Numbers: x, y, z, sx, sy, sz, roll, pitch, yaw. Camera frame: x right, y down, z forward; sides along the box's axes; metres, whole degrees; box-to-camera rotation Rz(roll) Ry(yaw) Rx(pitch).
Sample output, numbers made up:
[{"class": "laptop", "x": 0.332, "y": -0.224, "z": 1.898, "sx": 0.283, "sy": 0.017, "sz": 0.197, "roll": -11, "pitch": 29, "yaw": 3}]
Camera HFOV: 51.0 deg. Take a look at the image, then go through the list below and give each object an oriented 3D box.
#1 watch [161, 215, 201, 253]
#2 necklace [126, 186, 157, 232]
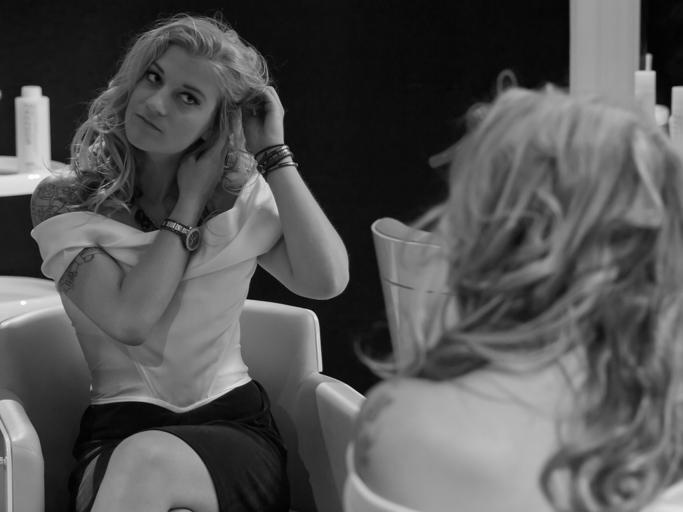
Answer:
[{"class": "watch", "x": -0.311, "y": -0.028, "z": 1.405, "sx": 0.057, "sy": 0.068, "sz": 0.038, "roll": -6, "pitch": 26, "yaw": 33}, {"class": "necklace", "x": -0.402, "y": -0.092, "z": 1.474, "sx": 0.040, "sy": 0.088, "sz": 0.065, "roll": -20, "pitch": 3, "yaw": 11}]
